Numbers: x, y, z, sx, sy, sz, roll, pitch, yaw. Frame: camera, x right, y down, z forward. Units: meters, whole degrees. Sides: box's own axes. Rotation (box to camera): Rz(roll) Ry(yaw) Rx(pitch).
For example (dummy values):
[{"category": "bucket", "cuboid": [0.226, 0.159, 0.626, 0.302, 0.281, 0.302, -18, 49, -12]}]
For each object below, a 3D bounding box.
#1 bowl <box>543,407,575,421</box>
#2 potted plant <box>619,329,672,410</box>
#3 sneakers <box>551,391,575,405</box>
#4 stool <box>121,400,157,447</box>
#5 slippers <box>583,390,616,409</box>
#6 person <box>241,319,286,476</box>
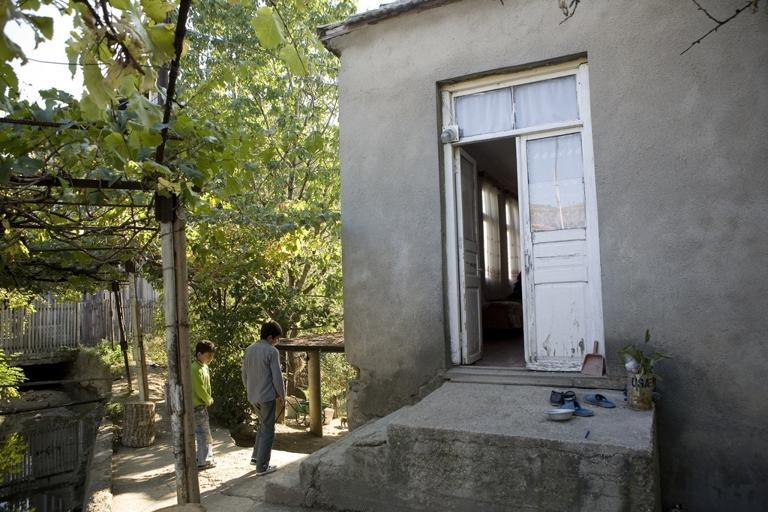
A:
[{"category": "bowl", "cuboid": [1.965, 1.751, 6.052, 0.324, 0.116, 0.229, -3, -6, 7]}, {"category": "potted plant", "cuboid": [3.154, 1.345, 6.608, 0.496, 0.895, 0.735, -5, -6, 26]}, {"category": "sneakers", "cuboid": [2.115, 1.676, 6.488, 0.241, 0.114, 0.151, -5, 3, -4]}, {"category": "stool", "cuboid": [-4.451, 3.066, 10.052, 0.630, 0.713, 0.608, 2, -7, -14]}, {"category": "slippers", "cuboid": [2.548, 1.711, 6.478, 0.353, 0.134, 0.270, -5, -7, 21]}, {"category": "person", "cuboid": [-1.798, 2.097, 8.217, 0.614, 2.226, 0.585, -1, -5, -15]}]
